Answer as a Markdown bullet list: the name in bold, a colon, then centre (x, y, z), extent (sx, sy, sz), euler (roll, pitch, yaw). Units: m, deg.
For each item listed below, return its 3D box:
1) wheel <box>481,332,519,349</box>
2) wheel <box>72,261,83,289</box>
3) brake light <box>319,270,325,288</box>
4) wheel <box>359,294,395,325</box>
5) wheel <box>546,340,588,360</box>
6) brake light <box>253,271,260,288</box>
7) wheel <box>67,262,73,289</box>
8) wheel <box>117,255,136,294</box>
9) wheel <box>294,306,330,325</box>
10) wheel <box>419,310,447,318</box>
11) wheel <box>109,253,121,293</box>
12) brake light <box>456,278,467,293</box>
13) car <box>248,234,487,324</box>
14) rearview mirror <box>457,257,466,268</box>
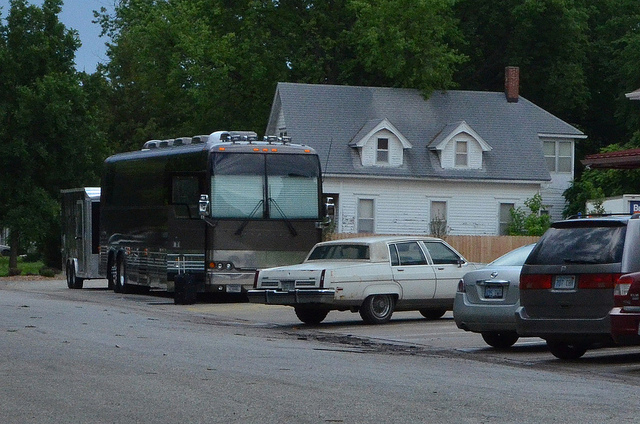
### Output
- **wheel**: centre (3.847, 2.717, 20.592), extent (0.796, 0.368, 0.581), euler (1, -1, -3)
- **wheel**: centre (-9.602, 2.480, 37.967), extent (0.365, 1.034, 1.107), euler (-1, 6, -26)
- **brake light**: centre (0.032, 1.602, 23.192), extent (0.119, 0.422, 0.059), euler (1, -1, -5)
- **wheel**: centre (1.397, 2.389, 23.960), extent (0.921, 0.825, 0.322), euler (1, -1, -36)
- **wheel**: centre (4.929, 2.730, 19.188), extent (0.625, 0.163, 0.607), euler (0, 1, 0)
- **brake light**: centre (-1.607, 1.671, 24.008), extent (0.124, 0.407, 0.212), euler (1, -1, -20)
- **wheel**: centre (-10.057, 2.559, 38.489), extent (0.225, 0.782, 0.850), euler (5, 5, -16)
- **wheel**: centre (-6.880, 2.172, 34.151), extent (0.547, 1.367, 1.460), euler (-2, 6, -22)
- **wheel**: centre (-0.231, 2.640, 24.628), extent (0.651, 0.573, 0.200), euler (1, 5, -4)
- **wheel**: centre (3.009, 2.720, 25.899), extent (0.413, 0.185, 0.387), euler (0, -1, 0)
- **wheel**: centre (-7.648, 2.244, 35.506), extent (0.346, 1.139, 1.223), euler (0, 19, -12)
- **brake light**: centre (2.997, 1.548, 20.419), extent (0.145, 0.303, 0.346), euler (1, -1, -5)
- **car**: centre (0.971, 1.676, 24.141), extent (5.518, 1.489, 2.535), euler (-2, 2, -41)
- **rearview mirror**: centre (3.674, 1.302, 25.094), extent (0.340, 0.214, 0.093), euler (-5, 11, -40)
